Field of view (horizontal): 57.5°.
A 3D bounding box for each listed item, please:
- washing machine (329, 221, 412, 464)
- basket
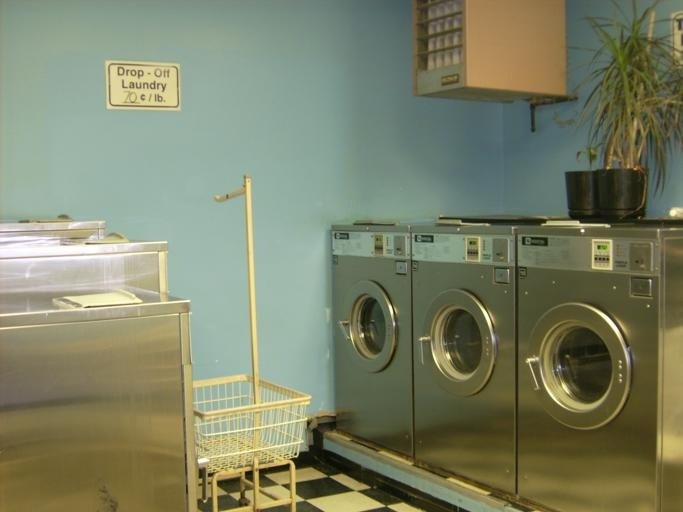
[{"bbox_3d":[0.349,0.457,3.945,0.605,1.381,0.703,-2,3,-41],"label":"washing machine"},{"bbox_3d":[-0.522,0.843,3.118,0.661,0.361,0.489,5,2,-45],"label":"basket"}]
